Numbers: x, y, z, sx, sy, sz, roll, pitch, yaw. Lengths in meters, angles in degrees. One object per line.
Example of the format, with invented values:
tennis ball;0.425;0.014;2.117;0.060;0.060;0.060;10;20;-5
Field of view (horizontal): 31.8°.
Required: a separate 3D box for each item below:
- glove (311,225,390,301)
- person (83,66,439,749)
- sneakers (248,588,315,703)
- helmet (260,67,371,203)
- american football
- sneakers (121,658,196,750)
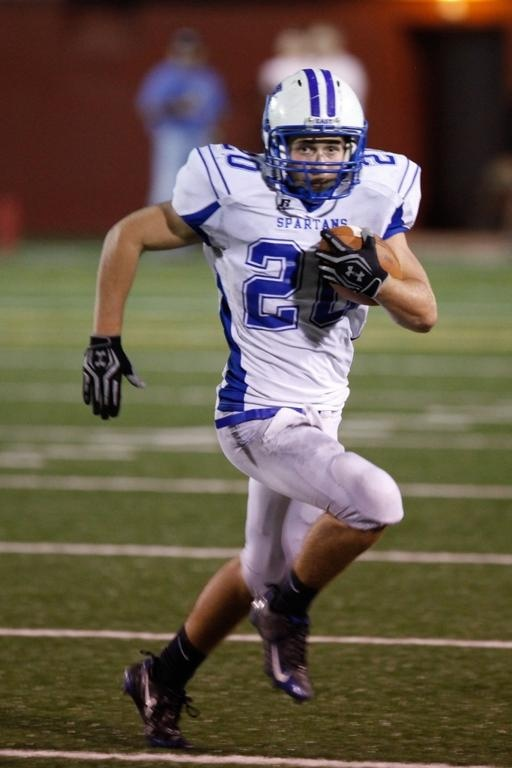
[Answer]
glove;0.175;-0.237;1.702;0.172;0.072;0.117;29;20;-16
person;-0.016;0.024;1.819;0.732;1.397;0.582;1;3;9
sneakers;0.044;0.500;1.744;0.115;0.227;0.146;0;3;-1
helmet;0.138;-0.554;1.958;0.270;0.253;0.303;-1;28;2
american football;0.195;-0.224;1.710;0.172;0.073;0.130;35;7;35
sneakers;-0.178;0.647;1.800;0.057;0.106;0.178;-27;-32;35
